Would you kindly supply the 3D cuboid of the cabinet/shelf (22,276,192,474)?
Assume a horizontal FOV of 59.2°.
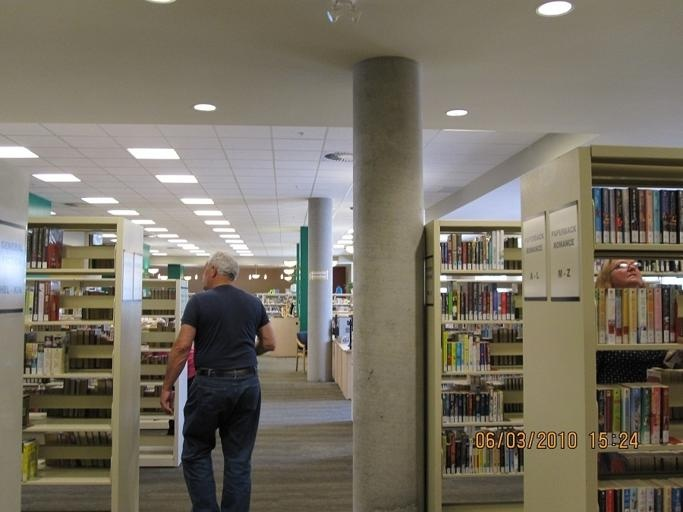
[{"bbox_3d":[-2.255,1.171,5.705,0.662,2.172,2.112,0,-2,-8],"label":"cabinet/shelf"}]
